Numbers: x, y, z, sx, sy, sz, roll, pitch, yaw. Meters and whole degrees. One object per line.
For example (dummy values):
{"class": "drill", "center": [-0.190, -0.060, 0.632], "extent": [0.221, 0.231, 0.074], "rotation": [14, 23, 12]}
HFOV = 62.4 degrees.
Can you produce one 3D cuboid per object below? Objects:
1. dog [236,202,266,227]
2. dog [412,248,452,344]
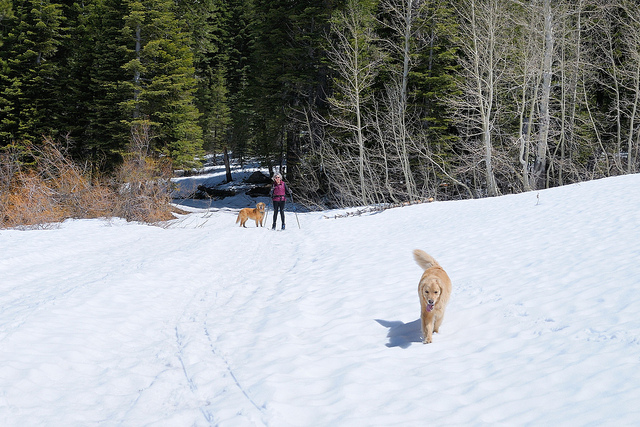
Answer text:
{"class": "dog", "center": [-3.314, 0.076, 25.182], "extent": [1.172, 1.146, 1.998], "rotation": [-4, 5, -19]}
{"class": "dog", "center": [3.168, 2.288, 14.988], "extent": [1.053, 2.397, 1.519], "rotation": [-1, 5, 15]}
